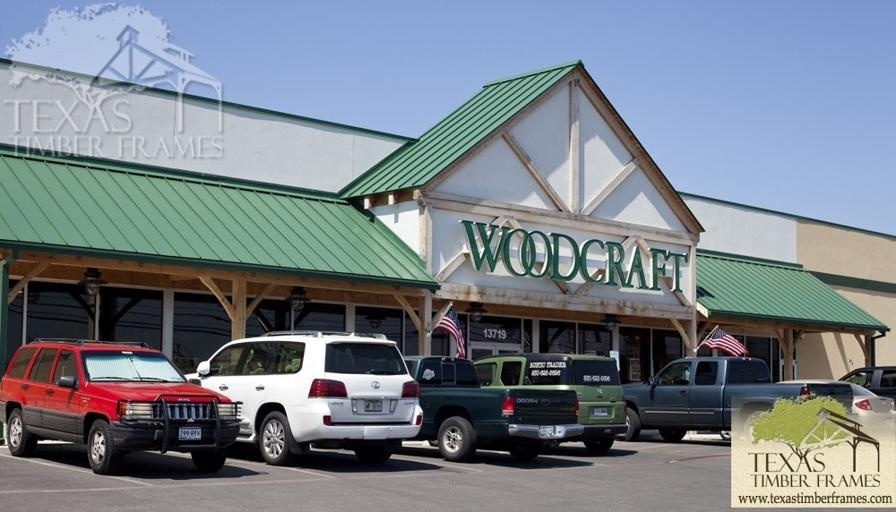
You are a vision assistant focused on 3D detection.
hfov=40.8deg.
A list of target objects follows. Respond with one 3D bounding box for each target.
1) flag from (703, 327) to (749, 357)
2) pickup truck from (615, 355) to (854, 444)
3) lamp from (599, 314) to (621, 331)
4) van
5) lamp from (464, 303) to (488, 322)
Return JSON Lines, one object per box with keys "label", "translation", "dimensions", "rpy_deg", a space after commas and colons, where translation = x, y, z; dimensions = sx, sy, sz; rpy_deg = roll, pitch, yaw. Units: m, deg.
{"label": "flag", "translation": [10.182, 3.115, 44.309], "dimensions": [1.434, 1.005, 1.148], "rpy_deg": [5, 8, 9]}
{"label": "pickup truck", "translation": [9.064, 4.479, 37.827], "dimensions": [6.579, 2.202, 2.996], "rpy_deg": [-2, -5, 39]}
{"label": "lamp", "translation": [5.990, 2.436, 44.680], "dimensions": [0.773, 0.862, 0.711], "rpy_deg": [2, -9, -5]}
{"label": "van", "translation": [2.597, 4.106, 36.323], "dimensions": [2.457, 1.641, 4.316], "rpy_deg": [3, -3, -43]}
{"label": "lamp", "translation": [0.957, 1.907, 41.919], "dimensions": [0.809, 0.678, 0.746], "rpy_deg": [0, -8, -3]}
